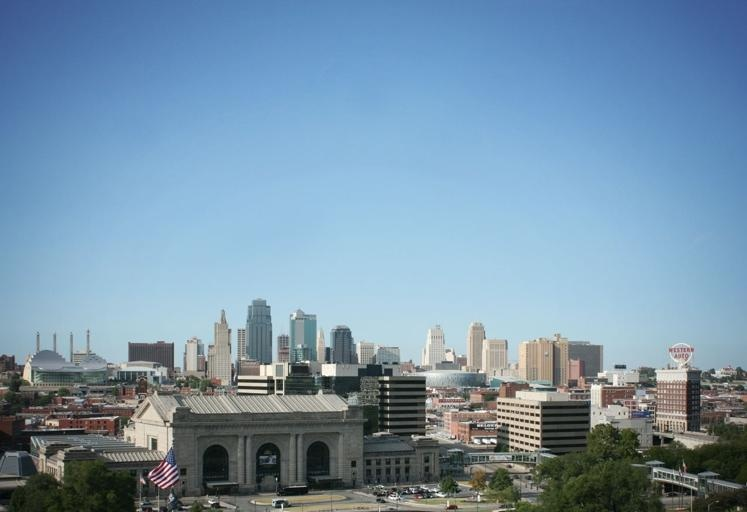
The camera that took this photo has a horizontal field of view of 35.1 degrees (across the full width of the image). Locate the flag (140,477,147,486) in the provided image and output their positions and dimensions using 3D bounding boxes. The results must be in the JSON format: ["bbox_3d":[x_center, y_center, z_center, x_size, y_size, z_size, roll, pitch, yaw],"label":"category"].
[{"bbox_3d":[-48.358,47.144,247.893,1.047,1.571,0.616,-15,-13,-24],"label":"flag"}]

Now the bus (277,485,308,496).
[{"bbox_3d":[-18.303,50.894,256.541,8.063,2.584,2.318,3,-6,-7],"label":"bus"}]
